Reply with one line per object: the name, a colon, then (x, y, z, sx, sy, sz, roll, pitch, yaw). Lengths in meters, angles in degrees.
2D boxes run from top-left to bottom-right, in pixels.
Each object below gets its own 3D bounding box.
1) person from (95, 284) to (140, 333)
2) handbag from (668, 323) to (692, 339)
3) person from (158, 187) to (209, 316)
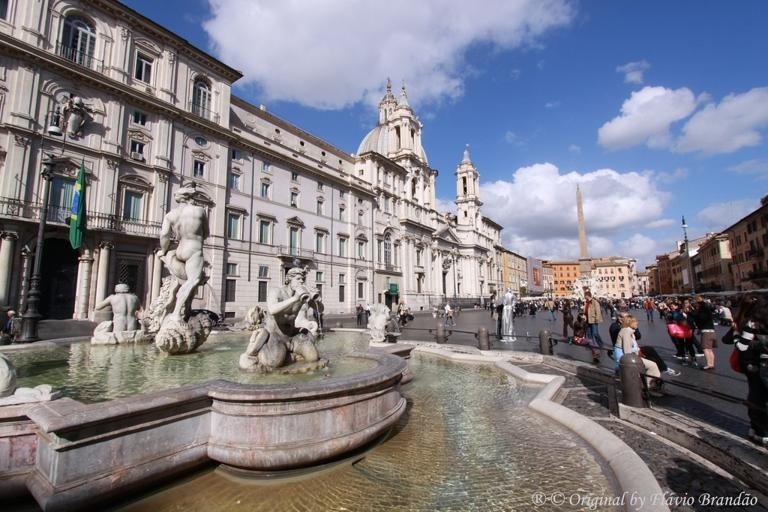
person: (-7.363, 1.456, 12.304, 0.909, 1.317, 0.611, -4, 5, -31)
handbag: (8.795, 2.208, 13.073, 0.460, 0.175, 0.449, -3, -5, 1)
person: (-5.110, -0.183, 11.304, 1.077, 3.429, 1.233, -4, 5, -30)
